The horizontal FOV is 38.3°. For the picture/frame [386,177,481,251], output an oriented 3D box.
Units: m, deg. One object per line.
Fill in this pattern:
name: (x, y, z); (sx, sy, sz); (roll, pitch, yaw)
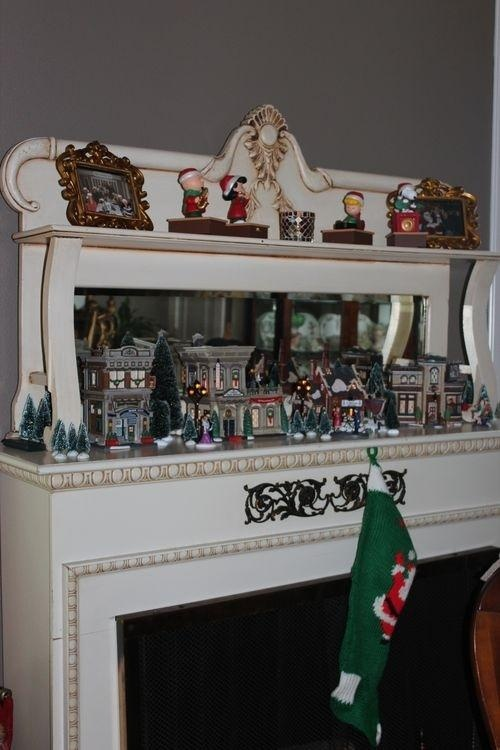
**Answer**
picture/frame: (0.502, -0.444, 2.019); (0.328, 0.252, 0.016); (4, -11, -28)
